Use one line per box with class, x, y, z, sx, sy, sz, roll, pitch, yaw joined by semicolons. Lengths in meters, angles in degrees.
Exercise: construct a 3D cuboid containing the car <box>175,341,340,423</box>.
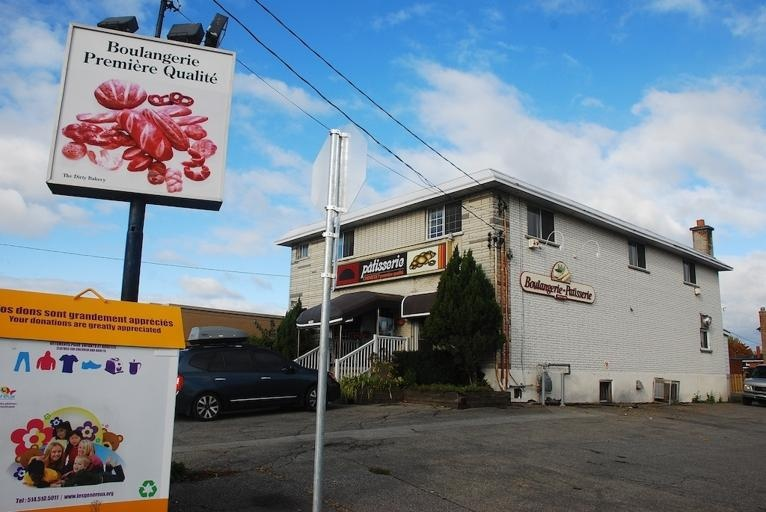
car;-3.303;3.106;15.039;3.970;1.373;1.719;5;-12;-33
